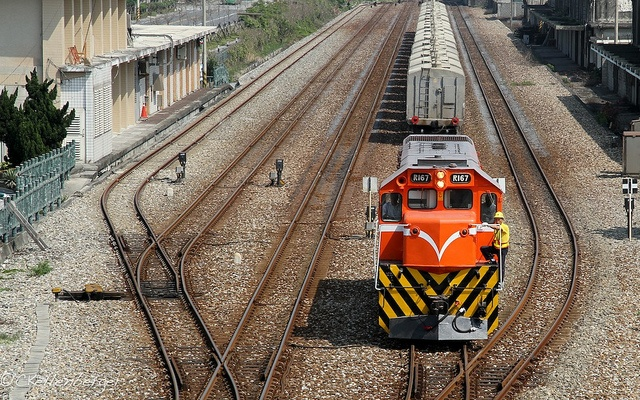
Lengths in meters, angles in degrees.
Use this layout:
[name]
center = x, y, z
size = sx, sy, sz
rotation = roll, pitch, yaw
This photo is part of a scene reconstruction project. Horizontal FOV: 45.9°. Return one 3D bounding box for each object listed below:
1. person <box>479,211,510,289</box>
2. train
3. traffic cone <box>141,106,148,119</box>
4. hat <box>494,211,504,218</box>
[person]
center = 5.025, 1.549, 21.764
size = 0.760, 2.327, 1.158
rotation = 1, 18, 12
[train]
center = 4.282, -3.255, 29.415
size = 3.264, 4.860, 20.260
rotation = 0, 32, 7
[traffic cone]
center = -11.504, -5.779, 49.568
size = 0.669, 0.897, 0.635
rotation = 0, 11, -6
[hat]
center = 5.185, 0.407, 21.943
size = 0.331, 0.224, 0.465
rotation = 0, -2, 12
